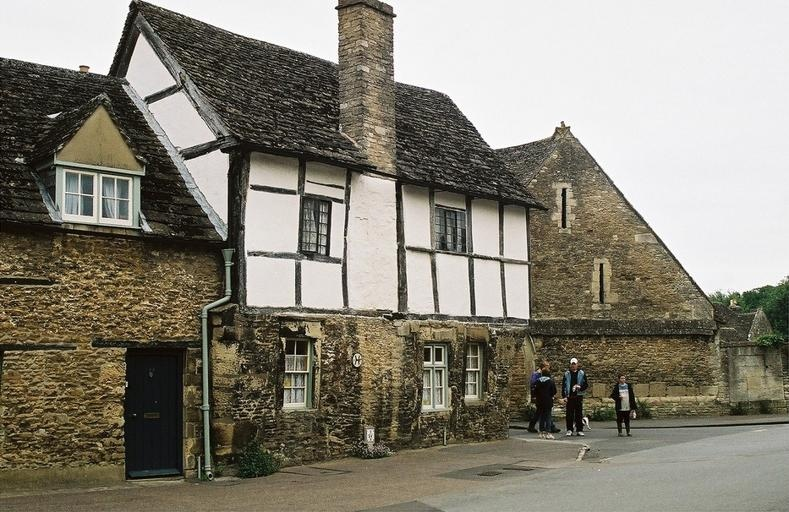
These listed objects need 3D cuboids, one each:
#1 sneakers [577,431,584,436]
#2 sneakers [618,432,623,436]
[{"bbox_3d":[5.345,5.074,27.420,0.164,0.131,0.363,-3,-12,10],"label":"sneakers"},{"bbox_3d":[6.470,5.096,27.248,0.120,0.118,0.117,6,-51,1],"label":"sneakers"}]
